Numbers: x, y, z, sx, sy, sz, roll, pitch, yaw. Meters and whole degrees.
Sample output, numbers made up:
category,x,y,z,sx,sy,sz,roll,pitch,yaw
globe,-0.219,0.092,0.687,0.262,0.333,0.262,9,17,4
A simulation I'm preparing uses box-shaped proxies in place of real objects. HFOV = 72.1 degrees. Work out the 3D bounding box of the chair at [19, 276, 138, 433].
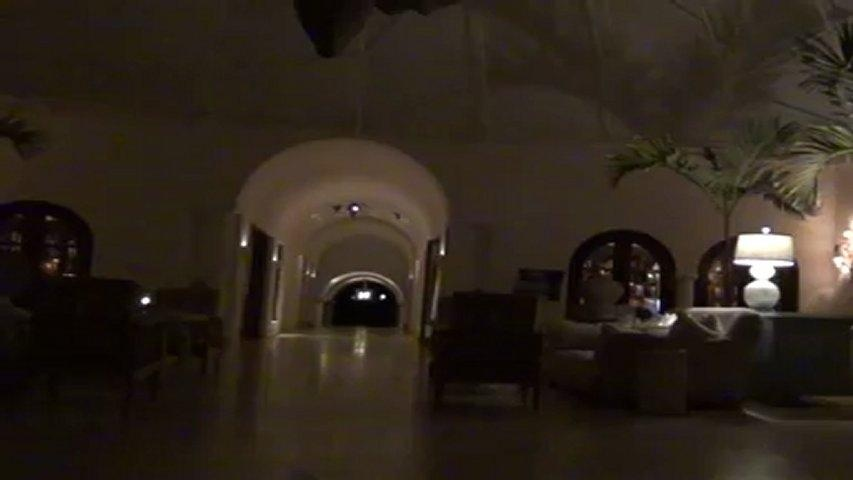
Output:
category,x,y,z,sx,sy,sz,roll,pitch,yaw
chair,-4.479,1.148,7.796,1.263,1.347,1.170,5,11,-7

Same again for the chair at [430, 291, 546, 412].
category,x,y,z,sx,sy,sz,roll,pitch,yaw
chair,0.883,1.645,8.978,1.988,1.518,1.961,-1,-10,22
